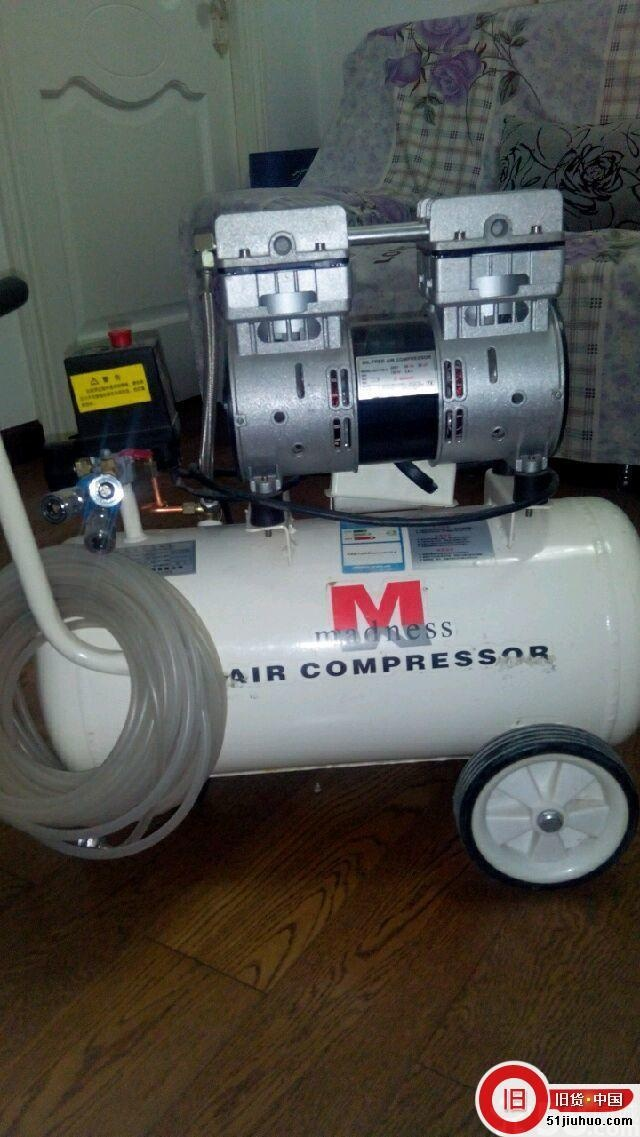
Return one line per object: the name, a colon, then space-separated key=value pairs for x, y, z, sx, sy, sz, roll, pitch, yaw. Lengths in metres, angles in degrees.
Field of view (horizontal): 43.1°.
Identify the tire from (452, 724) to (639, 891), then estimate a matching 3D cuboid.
tire: x=0.254 y=0.273 z=0.916 sx=0.169 sy=0.187 sz=0.058 roll=-2 pitch=14 yaw=2
